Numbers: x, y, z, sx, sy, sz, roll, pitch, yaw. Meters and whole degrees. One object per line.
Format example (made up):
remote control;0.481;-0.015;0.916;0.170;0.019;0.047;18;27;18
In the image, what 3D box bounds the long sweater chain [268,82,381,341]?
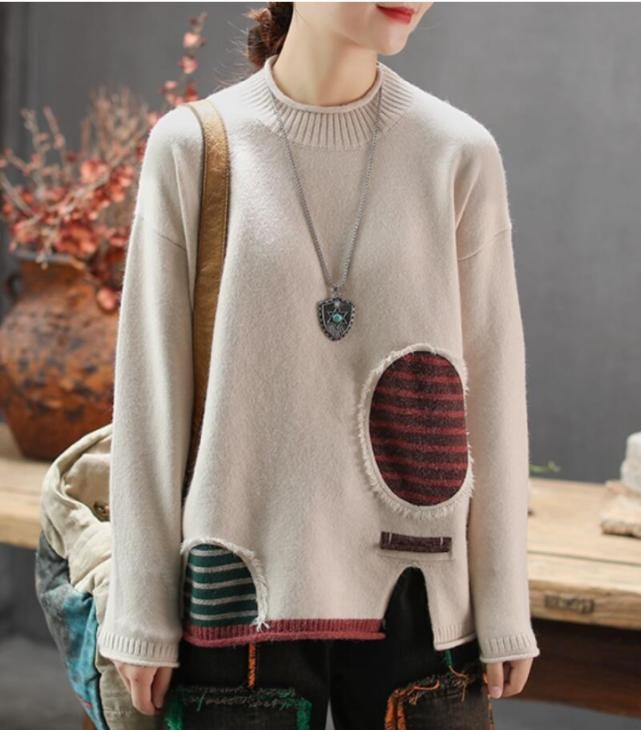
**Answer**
long sweater chain;-0.009;-0.168;1.001;0.124;0.279;0.040;7;0;-5
